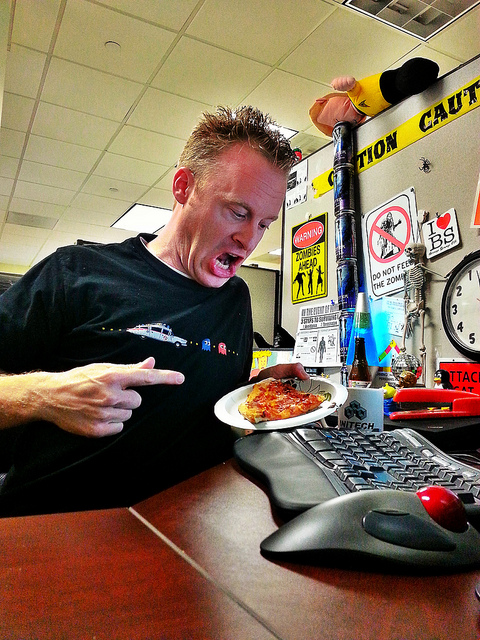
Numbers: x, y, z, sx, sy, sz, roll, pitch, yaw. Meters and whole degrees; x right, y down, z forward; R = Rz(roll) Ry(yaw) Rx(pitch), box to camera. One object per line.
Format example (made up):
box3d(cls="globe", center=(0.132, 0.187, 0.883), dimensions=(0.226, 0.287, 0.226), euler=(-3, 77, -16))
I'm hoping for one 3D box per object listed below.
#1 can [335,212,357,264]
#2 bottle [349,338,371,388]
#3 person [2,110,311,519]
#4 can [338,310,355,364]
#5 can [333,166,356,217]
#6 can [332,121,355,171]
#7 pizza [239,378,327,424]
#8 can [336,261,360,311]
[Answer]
box3d(cls="can", center=(0.307, -0.236, 1.369), dimensions=(0.063, 0.149, 0.072), euler=(-4, -3, 13))
box3d(cls="bottle", center=(0.237, 0.084, 0.944), dimensions=(0.040, 0.093, 0.150), euler=(-4, -2, 13))
box3d(cls="person", center=(-0.179, -0.060, 1.008), dimensions=(0.610, 0.791, 0.264), euler=(-2, -3, -18))
box3d(cls="can", center=(0.288, 0.047, 1.299), dimensions=(0.035, 0.144, 0.071), euler=(-2, -3, -16))
box3d(cls="can", center=(0.304, -0.380, 1.401), dimensions=(0.065, 0.149, 0.071), euler=(-3, -2, 0))
box3d(cls="can", center=(0.306, -0.521, 1.425), dimensions=(0.063, 0.150, 0.054), euler=(-5, -3, 31))
box3d(cls="pizza", center=(0.077, 0.137, 0.851), dimensions=(0.147, 0.020, 0.161), euler=(1, 19, 14))
box3d(cls="can", center=(0.306, -0.095, 1.335), dimensions=(0.063, 0.144, 0.113), euler=(-4, -2, 13))
